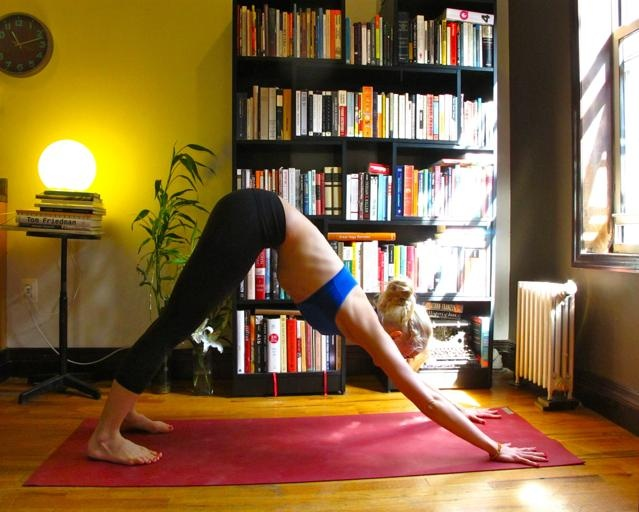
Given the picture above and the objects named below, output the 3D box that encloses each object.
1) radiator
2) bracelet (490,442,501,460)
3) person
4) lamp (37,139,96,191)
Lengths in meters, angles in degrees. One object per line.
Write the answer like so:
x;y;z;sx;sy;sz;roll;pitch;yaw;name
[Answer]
1.430;0.560;3.965;0.229;0.773;0.705;0;2;-10;radiator
0.888;0.982;3.240;0.027;0.081;0.059;8;8;19;bracelet
-0.003;0.410;3.500;2.223;1.453;0.935;5;-1;-10;person
-1.597;-0.592;4.173;0.359;0.351;0.329;11;15;3;lamp
